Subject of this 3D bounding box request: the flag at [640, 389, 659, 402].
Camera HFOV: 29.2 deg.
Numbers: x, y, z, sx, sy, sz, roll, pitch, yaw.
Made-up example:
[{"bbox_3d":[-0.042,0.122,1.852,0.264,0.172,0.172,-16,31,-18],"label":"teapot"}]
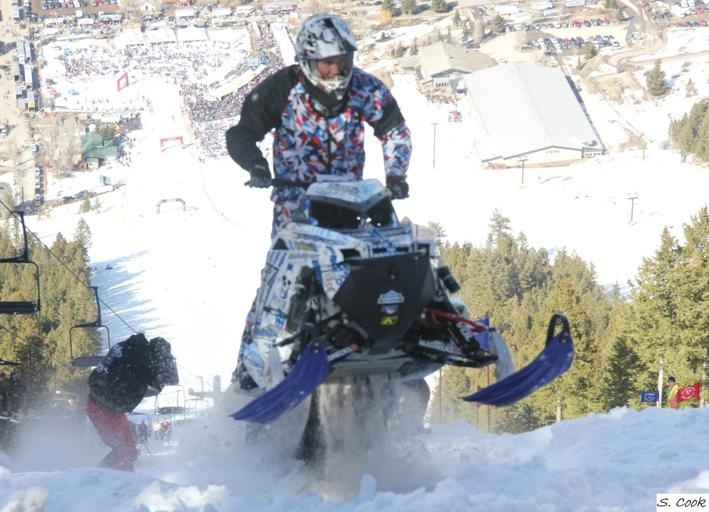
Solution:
[{"bbox_3d":[23.387,11.319,108.088,1.506,1.099,0.074,1,6,8],"label":"flag"}]
